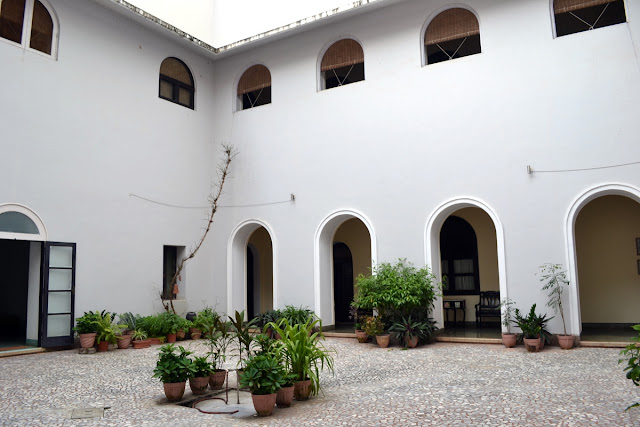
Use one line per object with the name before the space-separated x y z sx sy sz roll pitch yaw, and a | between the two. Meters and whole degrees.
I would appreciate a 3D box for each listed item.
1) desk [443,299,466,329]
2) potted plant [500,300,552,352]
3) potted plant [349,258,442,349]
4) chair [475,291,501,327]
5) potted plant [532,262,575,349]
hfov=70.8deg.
desk | 4.559 3.261 15.097 0.883 0.944 0.682 -5 -8 39
potted plant | 5.127 2.778 11.329 1.054 0.892 1.104 0 -1 -12
potted plant | 2.172 2.354 12.240 2.116 2.376 1.142 -3 -12 11
chair | 5.357 2.980 14.395 0.769 1.083 1.033 -5 -13 19
potted plant | 5.897 2.081 11.216 0.599 1.746 0.411 2 -11 -10
